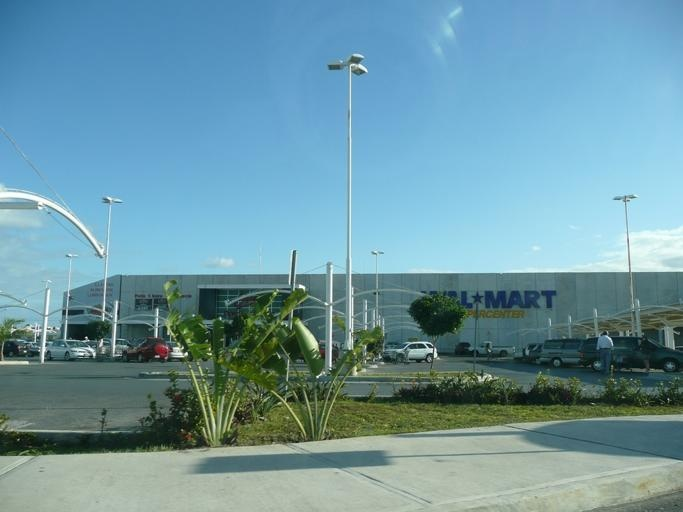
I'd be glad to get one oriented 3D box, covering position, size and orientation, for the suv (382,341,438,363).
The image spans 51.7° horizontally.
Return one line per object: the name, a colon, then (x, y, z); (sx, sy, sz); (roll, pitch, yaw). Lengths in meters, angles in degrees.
suv: (5.034, 6.987, 50.976); (3.097, 1.482, 2.720); (-5, -8, 19)
